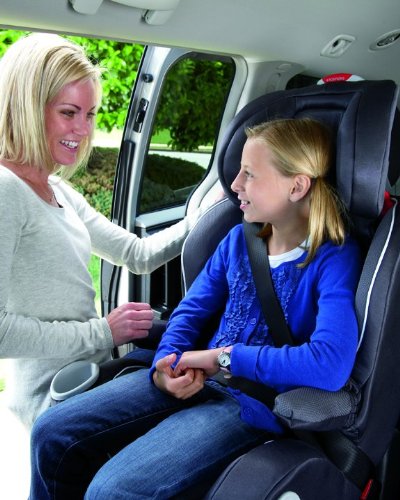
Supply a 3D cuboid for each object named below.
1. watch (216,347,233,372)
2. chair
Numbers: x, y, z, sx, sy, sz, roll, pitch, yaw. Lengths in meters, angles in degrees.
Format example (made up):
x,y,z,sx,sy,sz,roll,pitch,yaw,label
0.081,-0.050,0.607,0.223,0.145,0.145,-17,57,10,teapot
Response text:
x,y,z,sx,sy,sz,roll,pitch,yaw,label
0.061,0.268,1.073,0.043,0.059,0.062,8,-10,14,watch
-0.017,0.143,1.576,1.236,1.226,0.850,1,3,-34,chair
